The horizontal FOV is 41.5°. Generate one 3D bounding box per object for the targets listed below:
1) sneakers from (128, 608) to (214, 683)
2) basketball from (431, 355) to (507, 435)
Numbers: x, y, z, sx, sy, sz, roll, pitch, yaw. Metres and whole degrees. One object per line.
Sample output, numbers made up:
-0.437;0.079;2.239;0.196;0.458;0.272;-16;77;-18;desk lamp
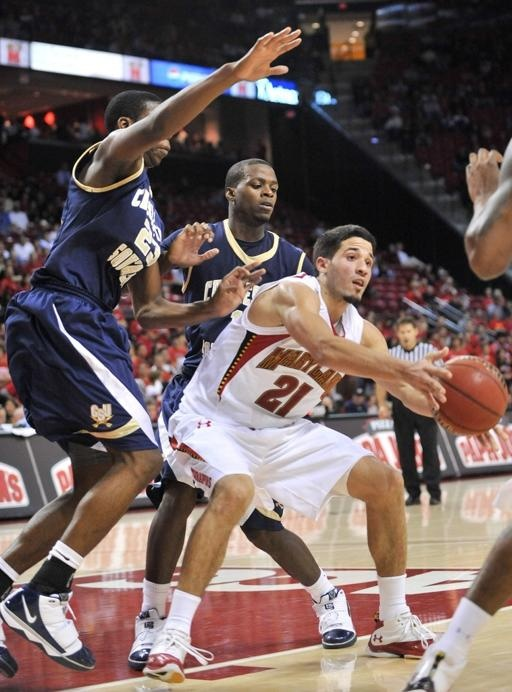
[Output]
-0.296;0.899;2.084;0.174;0.185;0.438;26;-22;-9;sneakers
0.670;0.159;2.356;0.269;0.269;0.275;16;4;11;basketball
